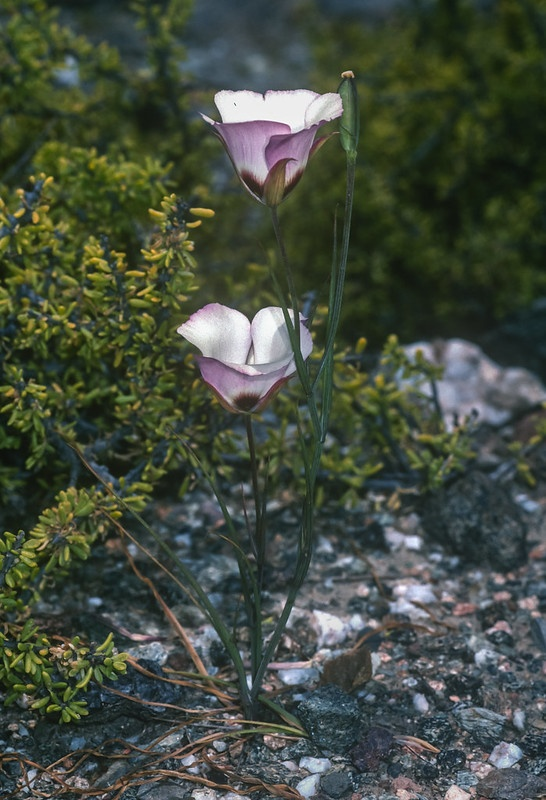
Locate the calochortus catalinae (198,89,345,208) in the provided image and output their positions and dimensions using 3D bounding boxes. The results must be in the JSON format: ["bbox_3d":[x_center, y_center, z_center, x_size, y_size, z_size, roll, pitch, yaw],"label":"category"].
[{"bbox_3d":[-0.013,-0.417,1.475,0.278,0.166,0.240,-5,21,-9],"label":"calochortus catalinae"}]

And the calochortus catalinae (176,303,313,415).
[{"bbox_3d":[-0.056,-0.049,1.489,0.250,0.138,0.234,-4,13,-21],"label":"calochortus catalinae"}]
